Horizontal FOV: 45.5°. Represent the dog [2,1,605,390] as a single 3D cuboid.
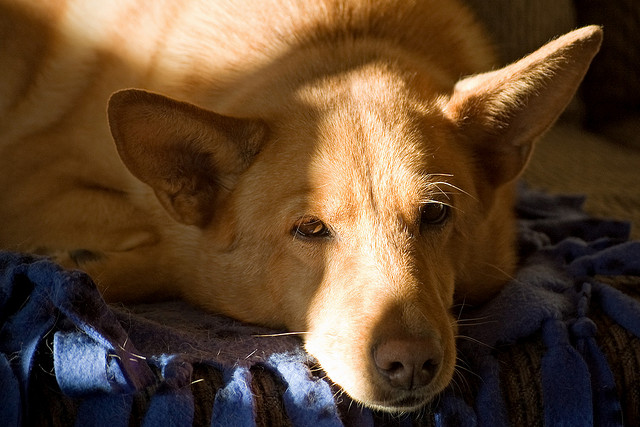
[{"bbox_3d":[-0.151,-0.126,2.591,1.955,1.218,0.759,1,8,6],"label":"dog"}]
